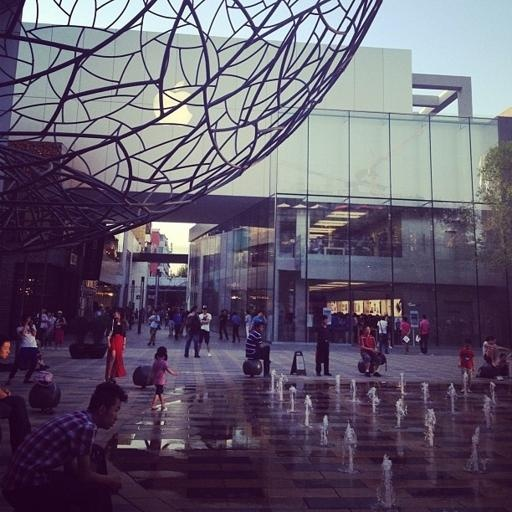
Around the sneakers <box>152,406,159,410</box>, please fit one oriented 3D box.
[{"bbox_3d":[-1.997,3.036,9.783,0.121,0.065,0.242,-10,-8,-9],"label":"sneakers"}]

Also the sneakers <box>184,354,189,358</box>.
[{"bbox_3d":[-2.789,4.050,19.801,0.138,0.151,0.143,4,-1,44],"label":"sneakers"}]
